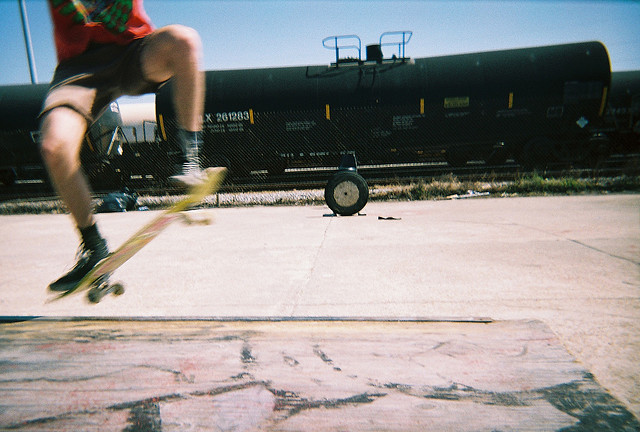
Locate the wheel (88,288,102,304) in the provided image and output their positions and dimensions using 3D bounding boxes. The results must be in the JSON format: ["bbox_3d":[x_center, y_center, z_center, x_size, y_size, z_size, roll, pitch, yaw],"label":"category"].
[{"bbox_3d":[-2.354,0.823,5.151,0.133,0.140,0.033,8,-7,-16],"label":"wheel"}]

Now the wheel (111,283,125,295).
[{"bbox_3d":[-2.113,0.760,5.147,0.113,0.139,0.161,-10,13,-29],"label":"wheel"}]

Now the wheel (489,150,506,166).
[{"bbox_3d":[3.950,-1.295,11.008,0.343,0.343,0.052,-3,11,0],"label":"wheel"}]

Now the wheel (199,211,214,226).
[{"bbox_3d":[-1.584,0.043,6.839,0.199,0.072,0.204,-4,13,1],"label":"wheel"}]
